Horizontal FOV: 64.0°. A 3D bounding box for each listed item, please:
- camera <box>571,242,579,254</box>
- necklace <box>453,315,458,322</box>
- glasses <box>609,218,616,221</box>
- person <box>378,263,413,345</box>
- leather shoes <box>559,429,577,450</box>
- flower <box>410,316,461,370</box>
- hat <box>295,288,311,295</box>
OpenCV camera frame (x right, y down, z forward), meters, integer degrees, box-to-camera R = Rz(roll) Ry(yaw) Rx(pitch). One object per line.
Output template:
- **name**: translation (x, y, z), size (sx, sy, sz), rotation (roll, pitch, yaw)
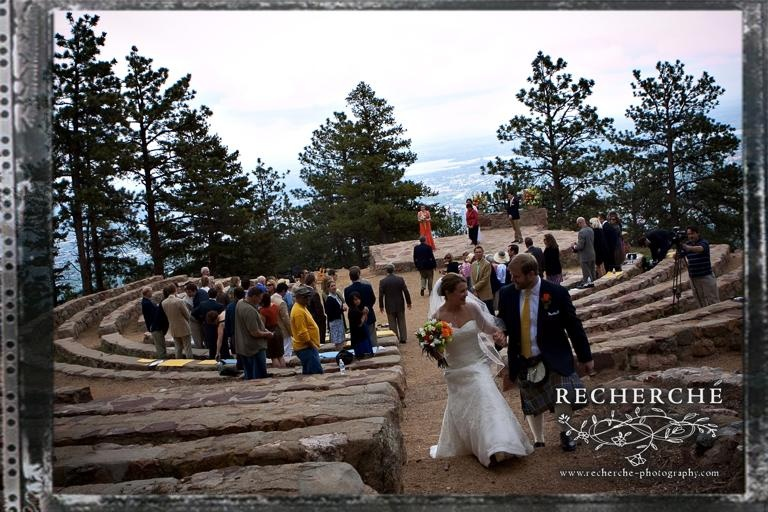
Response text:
- **camera**: translation (5.770, -0.255, 18.532), size (0.163, 0.408, 0.298), rotation (13, -23, -28)
- **necklace**: translation (0.980, 0.855, 8.437), size (0.049, 0.059, 0.059), rotation (-1, 1, 16)
- **glasses**: translation (6.392, -1.050, 17.166), size (0.103, 0.060, 0.080), rotation (9, -13, -36)
- **person**: translation (0.276, 1.173, 15.009), size (0.742, 1.914, 1.228), rotation (-7, 1, 1)
- **leather shoes**: translation (2.480, 2.469, 8.246), size (0.161, 0.278, 0.290), rotation (-7, -7, -43)
- **flower**: translation (0.713, 1.202, 8.296), size (0.509, 0.638, 0.348), rotation (-7, 1, -31)
- **hat**: translation (-1.473, 0.618, 11.198), size (0.450, 0.125, 0.190), rotation (-7, 1, 45)
